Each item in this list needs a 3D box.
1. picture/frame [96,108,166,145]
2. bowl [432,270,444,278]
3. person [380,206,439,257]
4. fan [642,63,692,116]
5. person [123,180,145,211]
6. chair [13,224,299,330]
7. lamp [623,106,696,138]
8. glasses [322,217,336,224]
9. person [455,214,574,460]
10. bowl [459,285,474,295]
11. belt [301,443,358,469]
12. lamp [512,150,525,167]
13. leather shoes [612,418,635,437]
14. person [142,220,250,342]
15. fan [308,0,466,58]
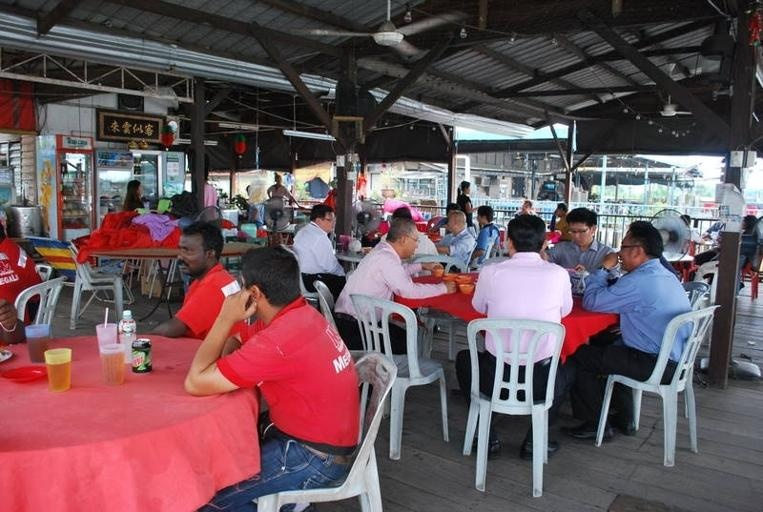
[{"bbox_3d":[-4.837,-2.509,11.384,1.226,0.639,0.351,-6,15,-26],"label":"picture/frame"},{"bbox_3d":[0.483,0.141,5.061,0.077,0.052,0.076,0,-4,0],"label":"bowl"},{"bbox_3d":[0.398,-0.292,6.983,0.459,0.486,0.732,-1,-3,0],"label":"person"},{"bbox_3d":[5.407,-3.039,11.033,0.635,0.729,0.583,-5,33,5],"label":"fan"},{"bbox_3d":[-4.070,-0.995,9.629,0.292,0.455,0.753,-6,14,-22],"label":"person"},{"bbox_3d":[-2.248,0.201,5.529,1.334,0.875,1.327,2,0,3],"label":"chair"},{"bbox_3d":[5.787,-2.812,12.400,1.030,0.397,0.740,-4,-6,38],"label":"lamp"},{"bbox_3d":[-0.576,-0.396,6.394,0.180,0.055,0.177,-1,5,-44],"label":"glasses"},{"bbox_3d":[0.895,0.575,4.085,0.755,1.690,0.506,4,14,17],"label":"person"},{"bbox_3d":[0.679,0.267,4.730,0.088,0.050,0.087,0,-4,0],"label":"bowl"},{"bbox_3d":[-0.256,1.036,3.078,0.216,0.065,0.153,19,-2,-4],"label":"belt"},{"bbox_3d":[5.369,-3.718,22.952,0.540,0.521,0.512,4,14,17],"label":"lamp"},{"bbox_3d":[1.863,1.308,4.552,0.096,0.063,0.163,-7,9,-35],"label":"leather shoes"},{"bbox_3d":[-1.157,0.176,3.901,0.691,0.935,0.688,3,-9,-27],"label":"person"},{"bbox_3d":[0.085,-3.018,7.716,1.139,0.442,1.002,-5,12,-33],"label":"fan"}]
